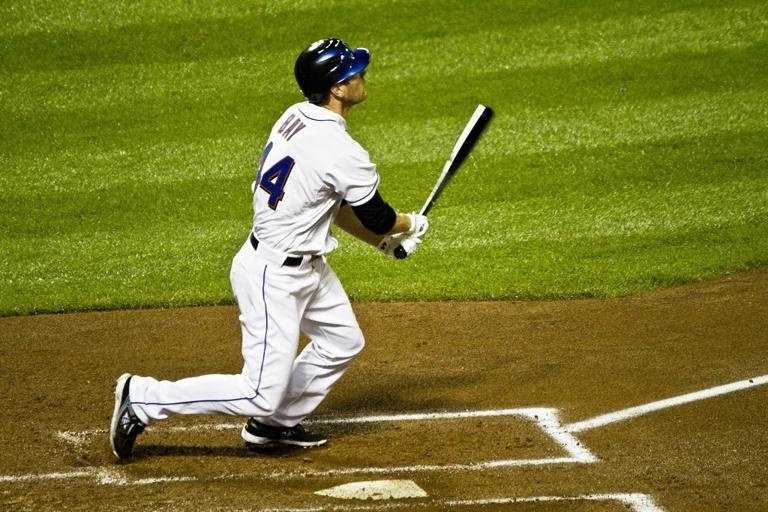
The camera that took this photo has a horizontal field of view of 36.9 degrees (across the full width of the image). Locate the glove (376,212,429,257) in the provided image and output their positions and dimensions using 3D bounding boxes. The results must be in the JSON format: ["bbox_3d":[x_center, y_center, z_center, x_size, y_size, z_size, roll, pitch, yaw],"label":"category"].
[{"bbox_3d":[0.183,-0.153,10.253,0.211,0.446,0.330,40,8,-24],"label":"glove"}]
